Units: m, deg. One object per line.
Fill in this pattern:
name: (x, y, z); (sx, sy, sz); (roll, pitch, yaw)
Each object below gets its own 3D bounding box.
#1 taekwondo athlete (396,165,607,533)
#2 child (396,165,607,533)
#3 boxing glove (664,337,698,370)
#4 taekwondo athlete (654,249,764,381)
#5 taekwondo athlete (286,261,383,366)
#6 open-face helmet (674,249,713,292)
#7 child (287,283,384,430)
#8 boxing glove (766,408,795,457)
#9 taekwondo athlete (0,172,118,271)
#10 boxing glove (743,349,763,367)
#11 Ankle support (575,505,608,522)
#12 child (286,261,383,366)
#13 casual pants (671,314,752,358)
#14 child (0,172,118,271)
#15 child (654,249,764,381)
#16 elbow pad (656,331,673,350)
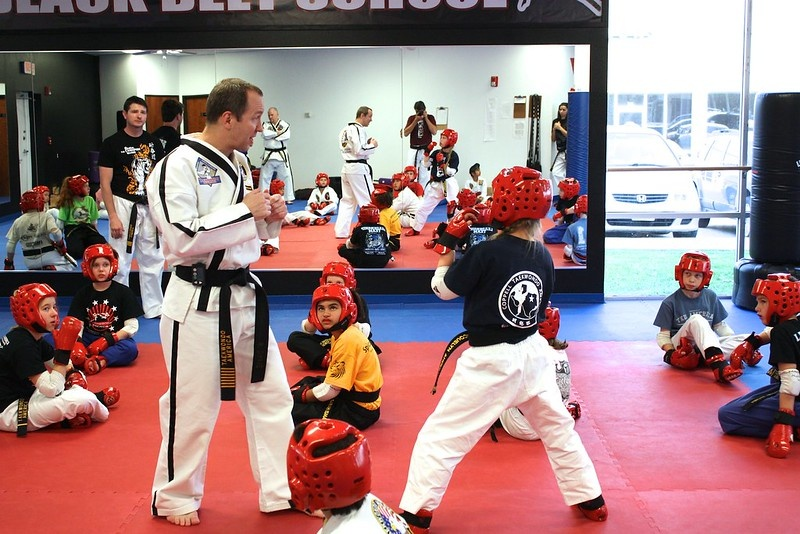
taekwondo athlete: (0.648, 0.534, 4.180); (1.273, 2.262, 0.598); (0, 13, -2)
child: (0.649, 0.533, 4.180); (1.275, 2.262, 0.600); (0, 13, -2)
boxing glove: (2.665, 0.835, 6.288); (0.231, 0.289, 0.318); (9, -10, -40)
taekwondo athlete: (2.850, 0.413, 6.496); (0.955, 1.171, 1.165); (-4, 5, -6)
taekwondo athlete: (-0.629, 0.471, 6.192); (0.772, 0.954, 0.734); (-1, 23, 3)
open-face helmet: (2.802, 0.022, 6.380); (0.358, 0.331, 0.354); (13, 14, 31)
child: (-0.470, 0.653, 5.705); (1.008, 1.350, 0.993); (2, 7, -1)
boxing glove: (2.799, 1.236, 4.962); (0.138, 0.208, 0.422); (1, 45, 26)
taekwondo athlete: (-4.444, -0.642, 8.958); (1.130, 1.622, 1.427); (-1, 8, 1)
boxing glove: (3.303, 0.855, 6.279); (0.151, 0.156, 0.095); (45, -3, -31)
Ankle support: (1.251, 1.573, 4.310); (0.165, 0.060, 0.097); (0, 3, 33)
child: (-0.615, 0.481, 6.249); (0.748, 0.941, 0.717); (2, 17, 11)
casual pants: (2.872, 0.646, 6.250); (0.487, 0.235, 0.470); (11, 0, -44)
child: (-4.319, -0.654, 8.964); (1.130, 1.622, 1.427); (-1, 8, 1)
child: (2.975, 0.455, 6.288); (0.955, 1.123, 1.122); (-3, 14, -4)
elbow pad: (2.563, 0.711, 6.480); (0.136, 0.155, 0.171); (-4, 4, 1)
